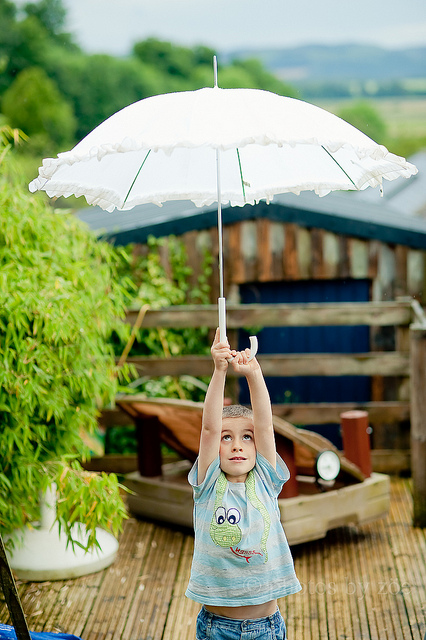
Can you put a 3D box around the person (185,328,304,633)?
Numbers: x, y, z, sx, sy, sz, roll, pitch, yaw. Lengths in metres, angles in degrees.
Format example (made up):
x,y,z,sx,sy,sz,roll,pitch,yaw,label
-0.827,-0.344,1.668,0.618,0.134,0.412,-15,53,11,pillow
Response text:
x,y,z,sx,sy,sz,roll,pitch,yaw,label
0.062,0.481,2.584,0.361,0.880,0.340,-12,21,-27,person

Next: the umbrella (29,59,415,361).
x,y,z,sx,sy,sz,roll,pitch,yaw,label
0.030,-0.375,2.765,1.096,0.798,0.981,-15,24,-31,umbrella
